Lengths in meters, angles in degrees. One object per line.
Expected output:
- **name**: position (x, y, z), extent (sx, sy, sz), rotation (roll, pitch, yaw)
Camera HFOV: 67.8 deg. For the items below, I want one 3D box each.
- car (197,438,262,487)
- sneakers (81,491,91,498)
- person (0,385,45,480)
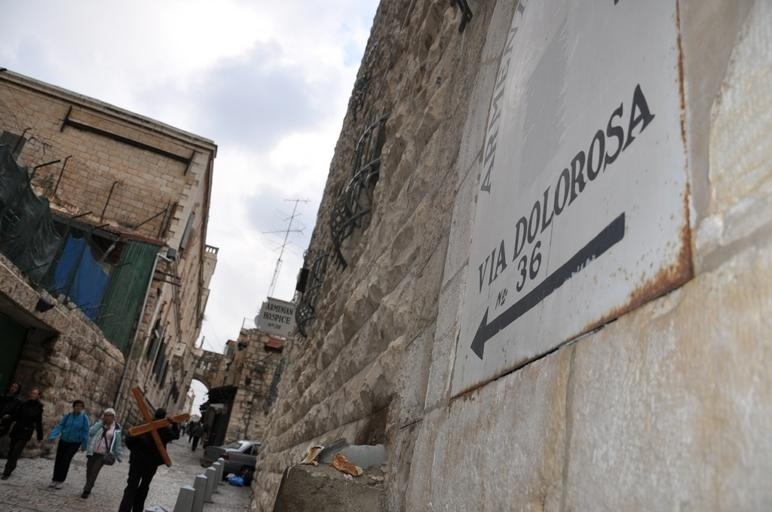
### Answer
- **car**: position (-3.732, 5.299, 15.407), extent (1.372, 0.966, 2.912), rotation (1, -10, 9)
- **sneakers**: position (-3.652, 2.897, 7.006), extent (0.054, 0.112, 0.116), rotation (43, -32, -16)
- **person**: position (-4.632, 2.270, 7.386), extent (0.409, 1.150, 0.994), rotation (20, -29, -24)
